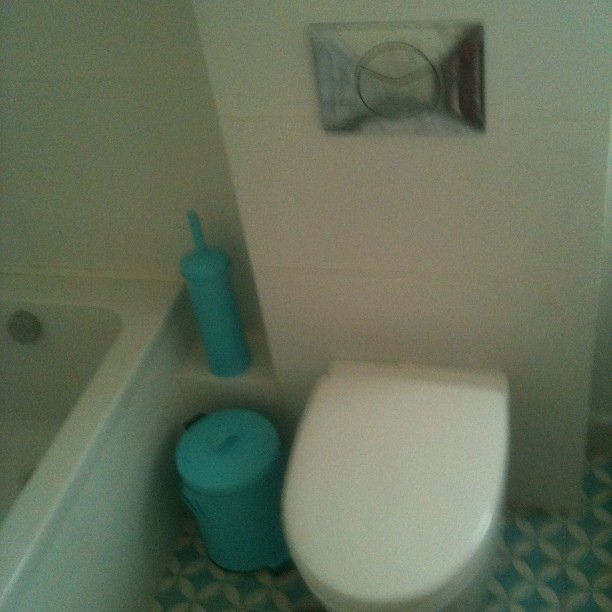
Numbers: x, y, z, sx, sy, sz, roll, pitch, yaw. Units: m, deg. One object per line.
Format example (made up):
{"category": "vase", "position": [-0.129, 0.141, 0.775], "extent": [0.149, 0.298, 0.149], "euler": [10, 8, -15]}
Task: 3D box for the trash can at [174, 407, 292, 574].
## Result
{"category": "trash can", "position": [-0.135, 0.391, 1.313], "extent": [0.185, 0.328, 0.196], "euler": [14, 32, 38]}
